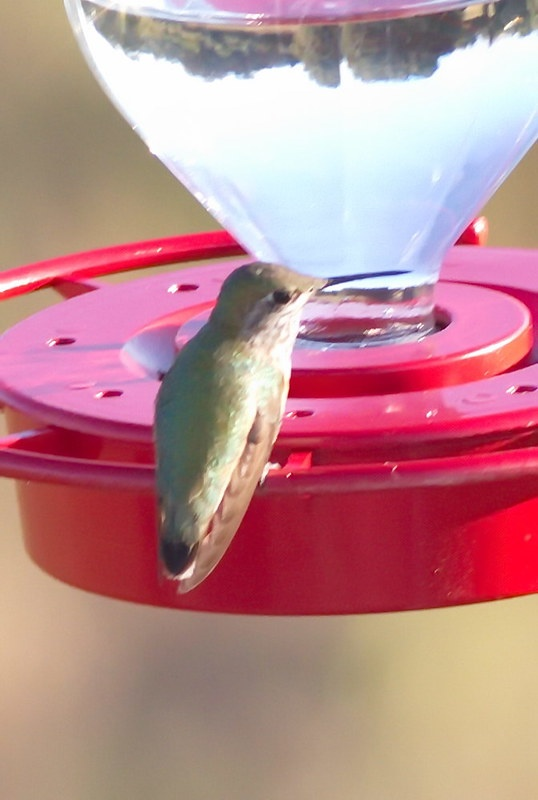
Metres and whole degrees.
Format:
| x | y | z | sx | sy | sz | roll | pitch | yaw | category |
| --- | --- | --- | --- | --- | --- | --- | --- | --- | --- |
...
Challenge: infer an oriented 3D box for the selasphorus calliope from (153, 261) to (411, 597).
| x | y | z | sx | sy | sz | roll | pitch | yaw | category |
| --- | --- | --- | --- | --- | --- | --- | --- | --- | --- |
| 0.002 | 0.008 | 0.285 | 0.043 | 0.064 | 0.147 | -18 | 33 | 51 | selasphorus calliope |
